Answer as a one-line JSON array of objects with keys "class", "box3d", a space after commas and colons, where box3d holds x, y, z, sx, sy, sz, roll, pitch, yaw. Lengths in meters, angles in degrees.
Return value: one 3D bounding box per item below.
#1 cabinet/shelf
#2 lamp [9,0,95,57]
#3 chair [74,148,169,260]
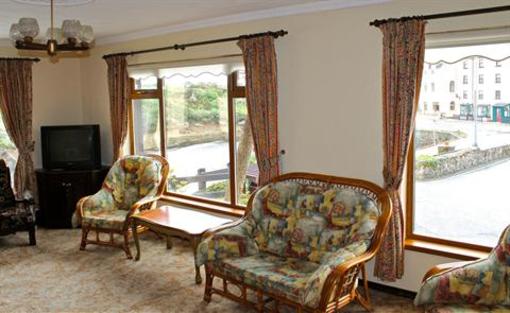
[{"class": "cabinet/shelf", "box3d": [-3.277, 0.576, 7.074, 1.590, 1.394, 0.997, 1, 7, -10]}, {"class": "lamp", "box3d": [-2.381, -1.518, 4.268, 0.770, 0.693, 0.989, -12, 18, -36]}, {"class": "chair", "box3d": [-2.071, 0.711, 6.251, 1.608, 1.794, 1.564, 4, 6, 23]}]
